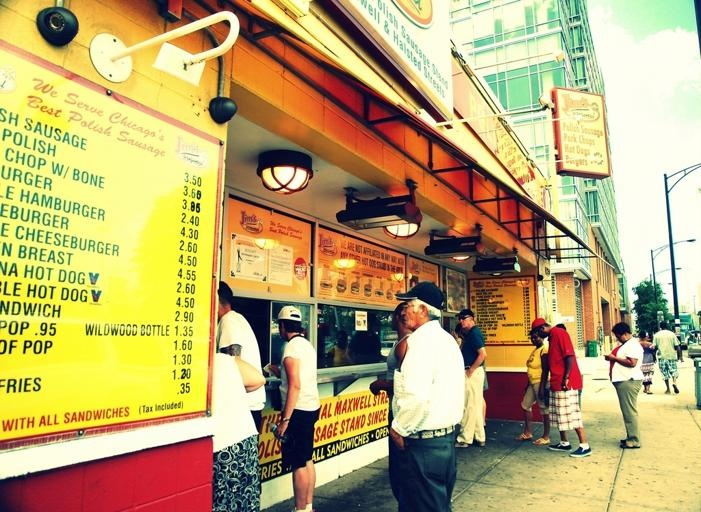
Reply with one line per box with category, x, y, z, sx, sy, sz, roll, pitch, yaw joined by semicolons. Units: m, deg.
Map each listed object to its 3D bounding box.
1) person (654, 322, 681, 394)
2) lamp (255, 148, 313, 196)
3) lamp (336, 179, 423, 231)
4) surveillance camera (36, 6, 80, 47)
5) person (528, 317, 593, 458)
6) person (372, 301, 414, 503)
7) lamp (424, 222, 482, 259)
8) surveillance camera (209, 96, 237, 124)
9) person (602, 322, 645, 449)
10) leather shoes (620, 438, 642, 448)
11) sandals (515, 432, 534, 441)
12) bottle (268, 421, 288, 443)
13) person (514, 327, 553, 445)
person;8.093;2.554;14.686;0.826;2.265;0.964;-1;-2;29
lamp;-0.655;-0.797;5.587;0.408;0.280;0.422;-14;-21;37
lamp;0.305;-0.567;6.360;0.928;0.462;0.393;-5;-7;32
surveillance camera;-1.578;-1.245;3.105;0.194;0.229;0.078;5;-8;-44
person;3.116;1.898;8.482;0.725;1.831;1.081;-2;-6;18
person;0.392;1.139;5.021;0.423;1.832;0.498;3;0;25
lamp;1.546;-0.208;8.546;0.818;0.430;0.602;-2;-6;15
surveillance camera;-0.857;-0.980;3.861;0.146;0.183;0.165;14;-32;-8
person;4.028;1.904;8.571;0.701;1.680;0.633;0;-3;2
leather shoes;4.049;2.689;8.290;0.240;0.103;0.138;6;-9;10
sandals;2.757;2.841;9.043;0.227;0.089;0.117;3;-14;-11
bottle;-0.667;1.642;5.382;0.146;0.169;0.250;0;-6;-4
person;2.962;2.040;9.164;0.695;1.693;0.635;-7;-10;41
